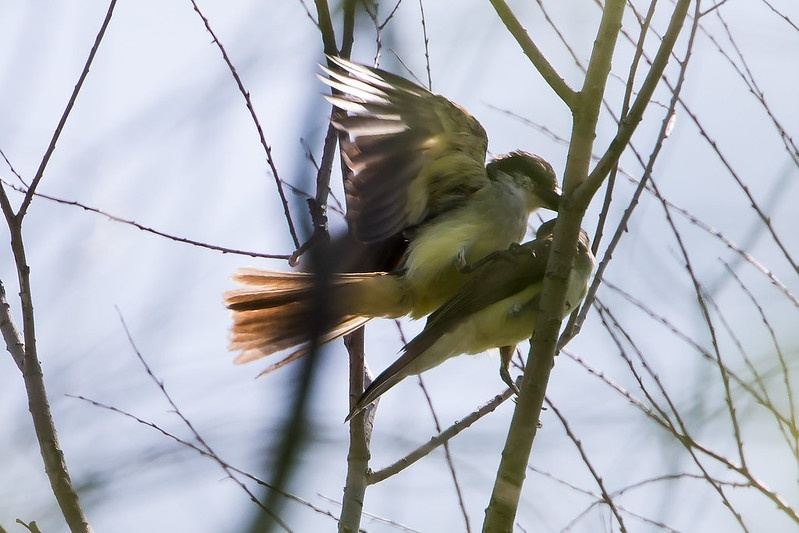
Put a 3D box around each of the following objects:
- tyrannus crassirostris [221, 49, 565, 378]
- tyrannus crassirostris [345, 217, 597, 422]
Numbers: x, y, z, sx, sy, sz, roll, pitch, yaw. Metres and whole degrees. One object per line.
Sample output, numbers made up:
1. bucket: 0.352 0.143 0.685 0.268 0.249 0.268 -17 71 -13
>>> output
1. tyrannus crassirostris: 0.019 -0.333 5.697 1.501 0.647 1.580 -16 -41 -18
2. tyrannus crassirostris: 0.388 0.260 5.623 1.390 0.447 0.857 -9 -103 24
